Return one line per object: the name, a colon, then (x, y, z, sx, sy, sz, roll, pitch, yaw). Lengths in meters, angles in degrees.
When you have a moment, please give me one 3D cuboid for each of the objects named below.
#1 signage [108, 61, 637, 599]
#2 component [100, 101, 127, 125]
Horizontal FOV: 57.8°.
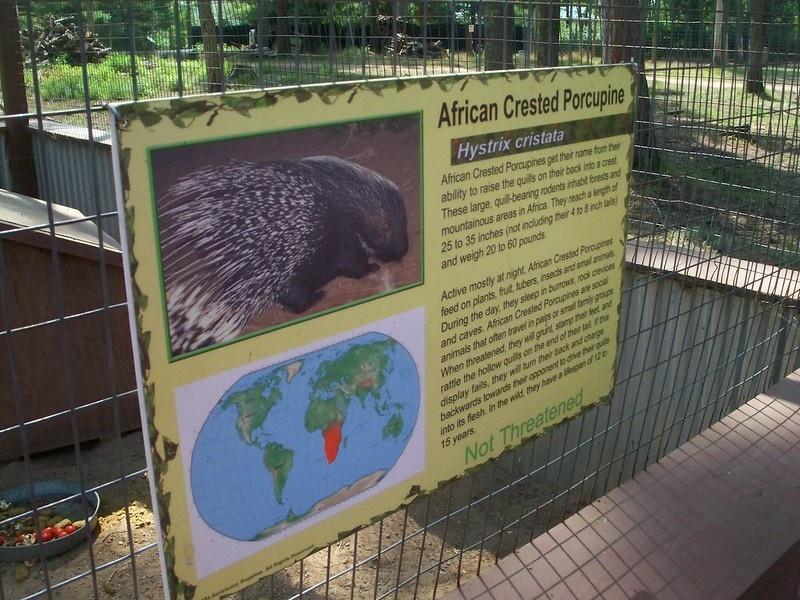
signage: (-0.049, 0.090, 2.492, 2.342, 1.995, 0.053, -17, 22, -33)
component: (-0.754, -0.487, 1.899, 0.064, 0.054, 0.029, 8, 22, 20)
